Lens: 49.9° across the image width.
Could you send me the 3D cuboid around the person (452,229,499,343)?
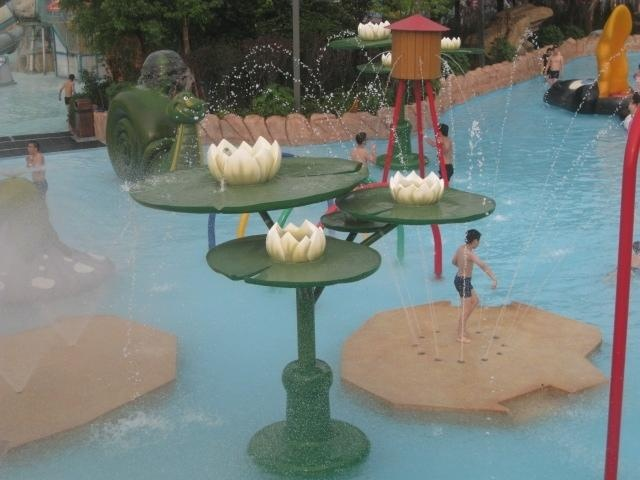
[{"bbox_3d":[1.959,0.632,8.710,0.520,1.591,0.678,-7,24,-8],"label":"person"}]
